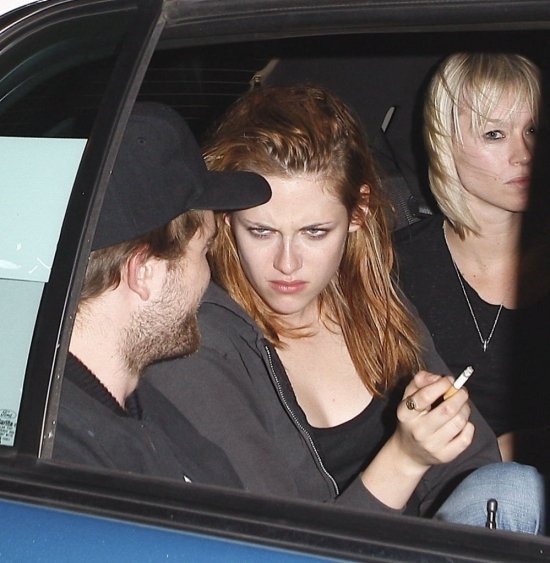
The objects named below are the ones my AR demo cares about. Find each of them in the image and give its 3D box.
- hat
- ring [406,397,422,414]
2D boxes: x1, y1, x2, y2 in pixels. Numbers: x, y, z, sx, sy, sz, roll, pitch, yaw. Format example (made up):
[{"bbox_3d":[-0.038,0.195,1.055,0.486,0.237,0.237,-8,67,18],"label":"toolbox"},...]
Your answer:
[{"bbox_3d":[-0.124,-0.220,1.330,0.432,0.167,0.252,-2,14,-3],"label":"hat"},{"bbox_3d":[0.290,0.262,1.390,0.023,0.024,0.011,-10,-17,34],"label":"ring"}]
